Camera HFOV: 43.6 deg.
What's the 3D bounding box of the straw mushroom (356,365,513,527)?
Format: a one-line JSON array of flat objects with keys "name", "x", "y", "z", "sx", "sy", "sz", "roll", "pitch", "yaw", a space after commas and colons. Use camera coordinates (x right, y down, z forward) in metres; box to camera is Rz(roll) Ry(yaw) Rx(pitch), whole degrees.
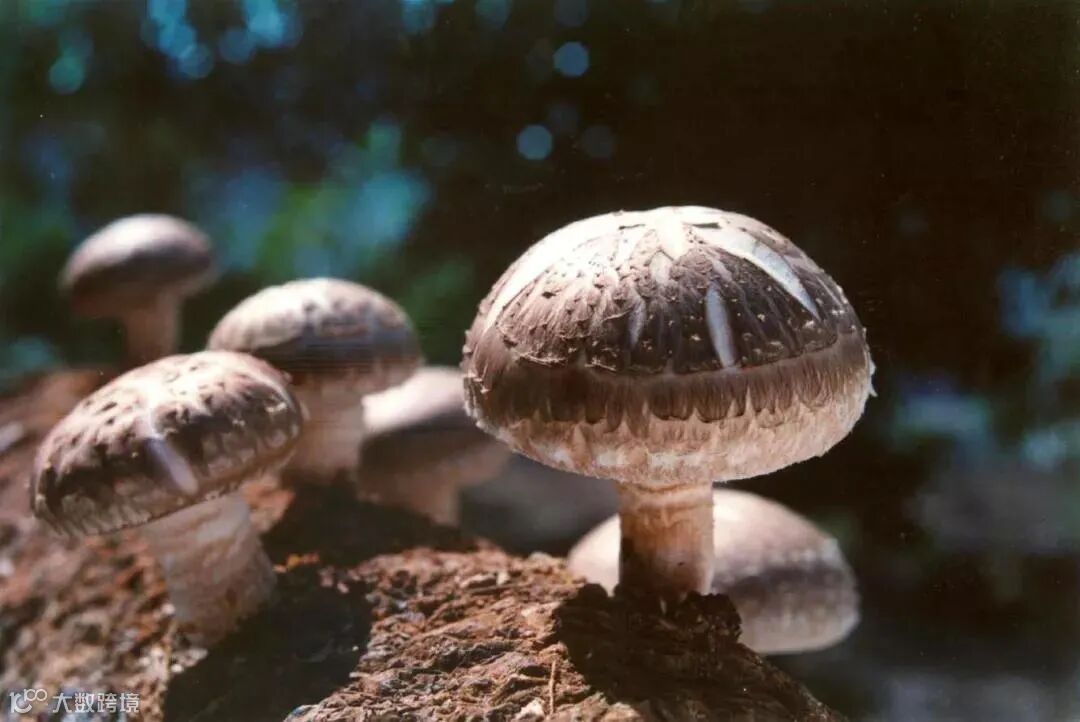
[{"name": "straw mushroom", "x": -0.273, "y": 0.217, "z": 3.458, "sx": 0.349, "sy": 0.269, "sz": 0.348, "roll": -12, "pitch": 8, "yaw": 6}]
